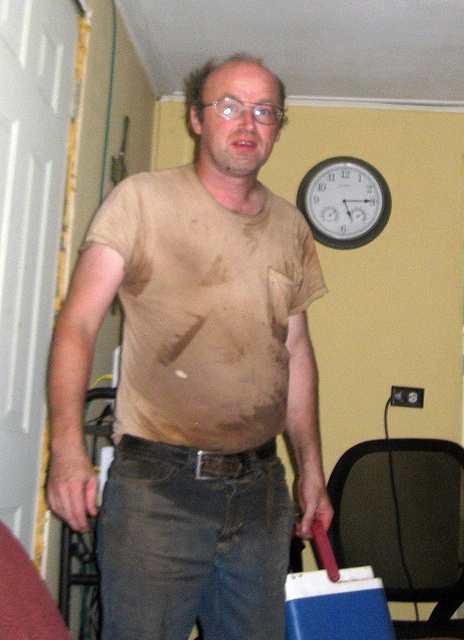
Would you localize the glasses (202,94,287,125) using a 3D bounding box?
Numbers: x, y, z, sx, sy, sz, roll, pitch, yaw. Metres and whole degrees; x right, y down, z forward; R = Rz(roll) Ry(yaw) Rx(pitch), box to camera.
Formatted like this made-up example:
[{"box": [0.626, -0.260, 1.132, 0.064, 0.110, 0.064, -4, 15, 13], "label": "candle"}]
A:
[{"box": [0.032, -0.473, 1.536, 0.096, 0.031, 0.092, 5, -8, -19], "label": "glasses"}]
